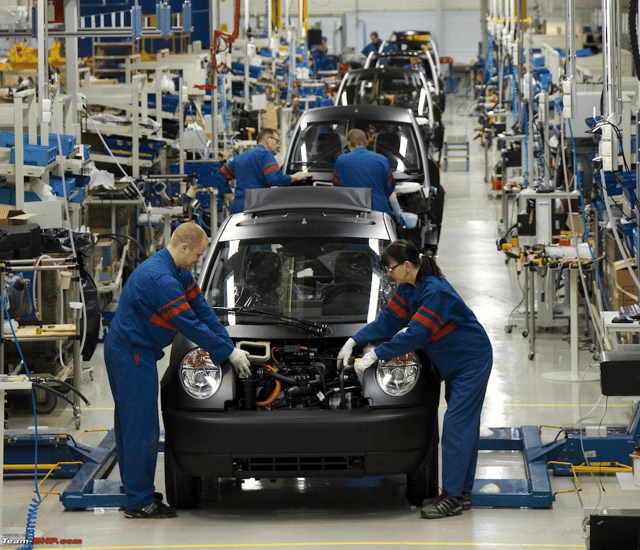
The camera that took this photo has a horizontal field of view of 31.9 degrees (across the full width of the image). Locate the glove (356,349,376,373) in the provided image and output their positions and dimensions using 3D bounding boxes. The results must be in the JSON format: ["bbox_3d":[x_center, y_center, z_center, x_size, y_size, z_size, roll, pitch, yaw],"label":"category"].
[{"bbox_3d":[0.316,0.519,6.902,0.168,0.099,0.060,-38,-51,26],"label":"glove"}]

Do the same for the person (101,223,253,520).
[{"bbox_3d":[-0.933,0.619,6.971,0.778,1.832,0.531,-3,11,-10],"label":"person"}]

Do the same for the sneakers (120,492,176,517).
[{"bbox_3d":[-1.086,1.415,7.039,0.359,0.163,0.137,-3,10,-10],"label":"sneakers"}]

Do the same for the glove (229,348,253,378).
[{"bbox_3d":[-0.488,0.538,6.853,0.050,0.176,0.149,-7,32,27],"label":"glove"}]

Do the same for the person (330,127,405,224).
[{"bbox_3d":[0.463,-0.676,11.052,0.612,1.556,0.456,-2,26,6],"label":"person"}]

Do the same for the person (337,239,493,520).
[{"bbox_3d":[0.641,0.637,6.997,0.838,1.665,0.451,1,11,9],"label":"person"}]

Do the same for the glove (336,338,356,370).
[{"bbox_3d":[0.171,0.492,7.008,0.052,0.175,0.130,24,-9,-32],"label":"glove"}]

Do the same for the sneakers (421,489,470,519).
[{"bbox_3d":[0.777,1.415,7.021,0.322,0.142,0.122,-1,11,-12],"label":"sneakers"}]
